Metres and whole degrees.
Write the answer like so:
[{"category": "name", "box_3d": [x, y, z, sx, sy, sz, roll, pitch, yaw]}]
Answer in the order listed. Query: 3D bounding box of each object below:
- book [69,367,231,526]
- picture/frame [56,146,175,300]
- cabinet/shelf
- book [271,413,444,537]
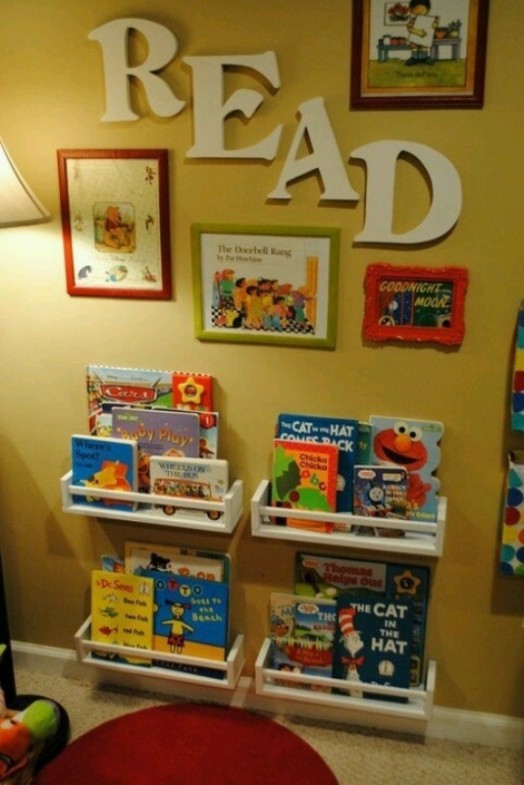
[{"category": "book", "box_3d": [-0.289, 0.149, 1.760, 0.388, 0.347, 0.134, 4, 14, 13]}, {"category": "picture/frame", "box_3d": [-0.382, -0.469, 1.722, 0.355, 0.454, 0.019, 9, 30, 17]}, {"category": "cabinet/shelf", "box_3d": [0.007, 0.565, 1.794, 0.720, 0.469, 0.174, 5, 30, 6]}, {"category": "book", "box_3d": [0.248, 0.186, 1.684, 0.435, 0.230, 0.122, 6, -1, 12]}]
